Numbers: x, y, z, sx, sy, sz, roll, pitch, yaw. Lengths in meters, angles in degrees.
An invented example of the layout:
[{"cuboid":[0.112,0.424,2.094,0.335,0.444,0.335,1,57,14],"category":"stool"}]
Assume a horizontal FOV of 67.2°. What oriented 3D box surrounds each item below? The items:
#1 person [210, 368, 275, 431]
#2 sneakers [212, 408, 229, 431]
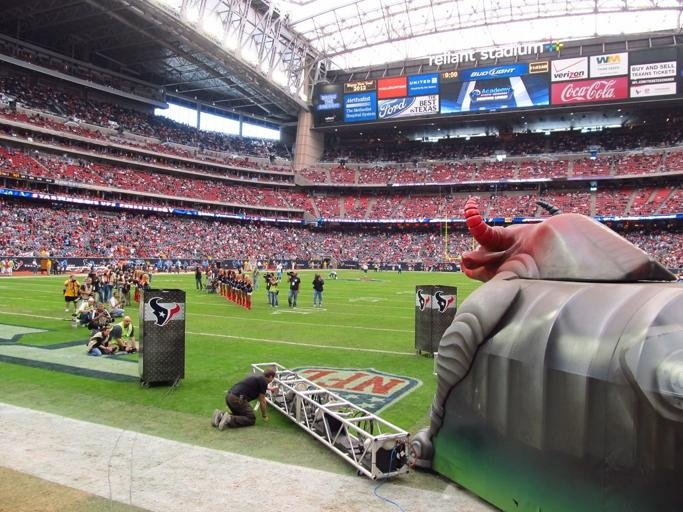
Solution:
[{"cuboid":[-1.827,2.635,9.518,0.664,0.770,1.522,-6,-5,37],"category":"person"},{"cuboid":[-2.103,2.888,9.074,0.266,0.295,0.274,-17,13,-41],"category":"sneakers"}]
